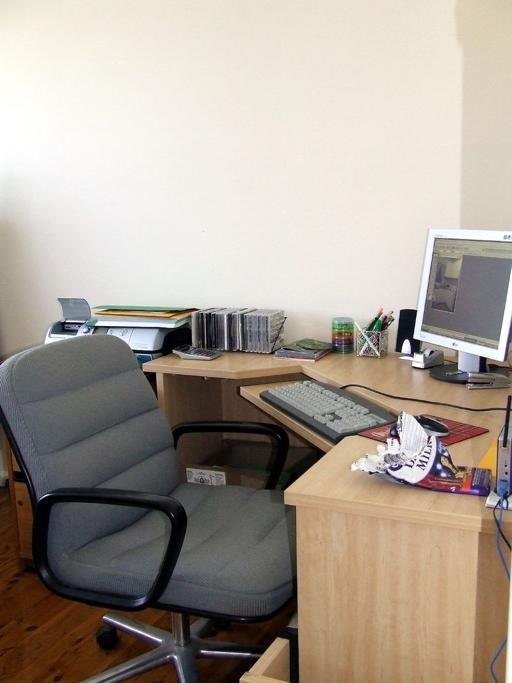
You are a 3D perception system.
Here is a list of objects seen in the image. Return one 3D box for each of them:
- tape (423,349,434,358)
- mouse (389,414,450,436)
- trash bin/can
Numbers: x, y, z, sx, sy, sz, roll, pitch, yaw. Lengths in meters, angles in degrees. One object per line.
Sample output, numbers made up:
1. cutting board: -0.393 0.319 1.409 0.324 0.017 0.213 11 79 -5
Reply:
1. tape: 0.577 0.040 1.812 0.022 0.012 0.039 2 16 27
2. mouse: 0.338 0.176 1.138 0.123 0.042 0.066 2 15 10
3. trash bin/can: -0.017 0.402 1.786 0.261 0.110 0.372 3 10 11
